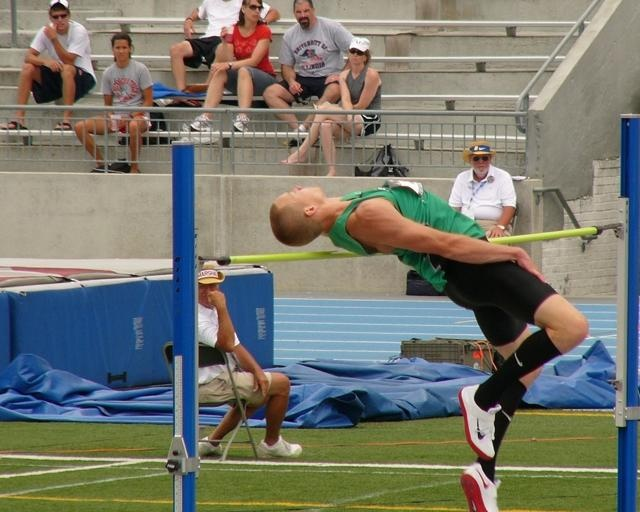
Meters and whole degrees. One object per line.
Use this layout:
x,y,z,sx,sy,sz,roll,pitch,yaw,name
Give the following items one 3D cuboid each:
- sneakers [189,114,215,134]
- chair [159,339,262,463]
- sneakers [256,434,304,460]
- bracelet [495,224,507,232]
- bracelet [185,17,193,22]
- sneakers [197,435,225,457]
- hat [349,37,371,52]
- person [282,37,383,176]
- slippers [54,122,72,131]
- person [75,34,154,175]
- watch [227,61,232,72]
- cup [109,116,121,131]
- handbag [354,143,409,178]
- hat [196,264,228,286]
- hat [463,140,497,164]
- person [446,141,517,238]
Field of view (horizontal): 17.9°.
-1.453,-1.569,24.893,0.197,0.230,0.511,30,8,4,sneakers
-0.895,1.289,17.936,0.781,1.145,0.886,-5,-9,-25,chair
-0.375,1.743,18.384,0.383,0.170,0.172,1,-3,-3,sneakers
2.000,-0.310,22.682,0.106,0.041,0.092,21,-23,23,bracelet
-1.717,-3.034,26.673,0.079,0.036,0.105,3,19,23,bracelet
-1.030,1.716,18.377,0.287,0.119,0.120,14,-4,-17,sneakers
0.471,-2.521,24.725,0.232,0.160,0.336,9,7,-1,hat
0.257,-1.794,24.948,1.003,1.705,0.720,9,7,1,person
-3.185,-1.578,25.302,0.117,0.073,0.207,-3,8,-39,slippers
-2.519,-1.852,25.286,0.889,1.728,0.709,8,7,-5,person
-1.138,-2.309,25.362,0.033,0.080,0.061,14,14,13,watch
-2.531,-1.593,25.126,0.127,0.200,0.129,-3,0,0,cup
0.752,-1.084,25.123,0.573,0.550,0.390,-1,7,-27,handbag
-0.998,0.157,18.553,0.216,0.218,0.407,8,7,-4,hat
1.817,-1.167,23.408,0.307,0.143,0.366,0,-12,-2,hat
1.797,-0.709,23.097,0.777,1.101,0.824,3,9,34,person
